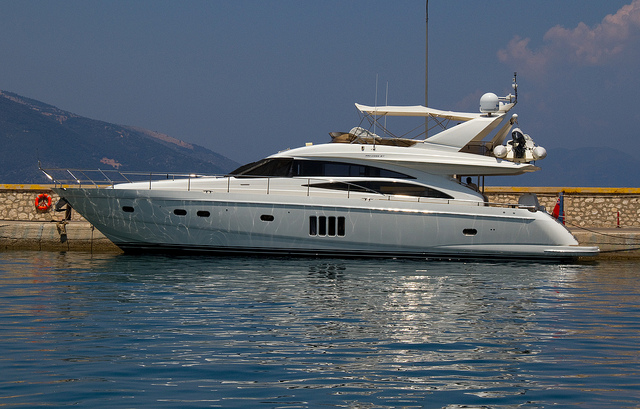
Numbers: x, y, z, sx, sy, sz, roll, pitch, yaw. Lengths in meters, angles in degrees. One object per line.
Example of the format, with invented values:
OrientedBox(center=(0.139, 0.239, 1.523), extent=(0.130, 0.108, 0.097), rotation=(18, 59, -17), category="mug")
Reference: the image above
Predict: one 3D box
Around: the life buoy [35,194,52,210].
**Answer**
OrientedBox(center=(-8.662, -0.042, 37.814), extent=(0.484, 0.474, 0.291), rotation=(3, 16, -10), category="life buoy")

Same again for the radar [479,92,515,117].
OrientedBox(center=(4.999, -2.863, 34.991), extent=(0.581, 0.645, 0.679), rotation=(19, 19, 39), category="radar")

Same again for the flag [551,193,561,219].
OrientedBox(center=(7.313, 0.040, 37.113), extent=(0.214, 0.794, 1.012), rotation=(11, 15, 11), category="flag")
